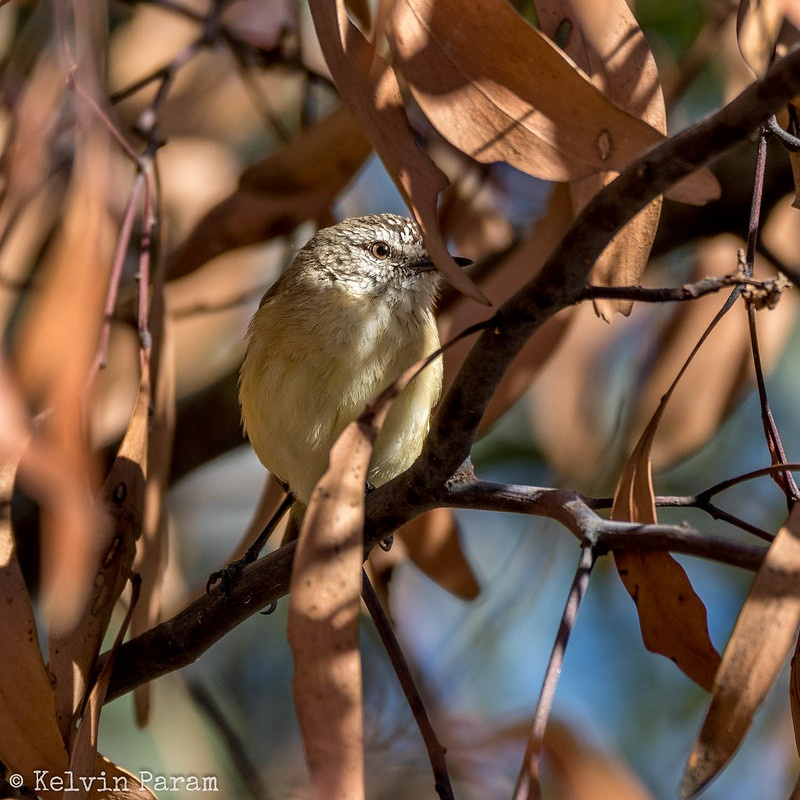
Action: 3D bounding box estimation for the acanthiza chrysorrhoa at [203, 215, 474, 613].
[{"bbox_3d":[-0.153,-0.114,3.313,0.364,1.452,0.510,5,1,29],"label":"acanthiza chrysorrhoa"}]
